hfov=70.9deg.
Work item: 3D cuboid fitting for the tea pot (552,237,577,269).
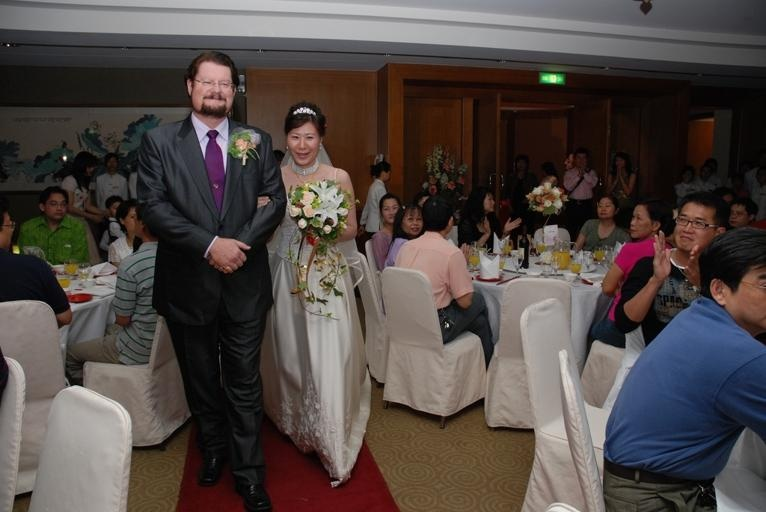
[{"bbox_3d":[1.554,-0.024,4.695,0.205,0.406,0.375,-1,-2,14],"label":"tea pot"}]

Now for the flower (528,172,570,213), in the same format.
[{"bbox_3d":[1.673,-0.585,5.477,0.367,0.277,0.405,8,22,43],"label":"flower"}]

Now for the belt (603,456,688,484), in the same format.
[{"bbox_3d":[1.049,0.864,2.148,0.302,0.052,0.061,5,14,16],"label":"belt"}]

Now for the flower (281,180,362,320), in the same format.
[{"bbox_3d":[-0.375,0.012,3.311,0.333,0.689,0.349,5,7,-1],"label":"flower"}]

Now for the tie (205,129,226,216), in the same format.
[{"bbox_3d":[-0.910,-0.465,2.924,0.096,0.418,0.130,-3,13,-15],"label":"tie"}]

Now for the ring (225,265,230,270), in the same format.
[{"bbox_3d":[-0.824,0.065,2.860,0.016,0.016,0.016,-7,24,3],"label":"ring"}]

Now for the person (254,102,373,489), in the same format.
[{"bbox_3d":[-0.443,0.180,3.461,0.676,2.296,0.982,-2,3,-36],"label":"person"}]

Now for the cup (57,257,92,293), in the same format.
[{"bbox_3d":[-2.461,0.156,4.280,0.261,0.223,0.282,1,-2,0],"label":"cup"}]

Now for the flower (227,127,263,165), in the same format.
[{"bbox_3d":[-0.755,-0.594,2.950,0.183,0.194,0.084,-6,14,-24],"label":"flower"}]
